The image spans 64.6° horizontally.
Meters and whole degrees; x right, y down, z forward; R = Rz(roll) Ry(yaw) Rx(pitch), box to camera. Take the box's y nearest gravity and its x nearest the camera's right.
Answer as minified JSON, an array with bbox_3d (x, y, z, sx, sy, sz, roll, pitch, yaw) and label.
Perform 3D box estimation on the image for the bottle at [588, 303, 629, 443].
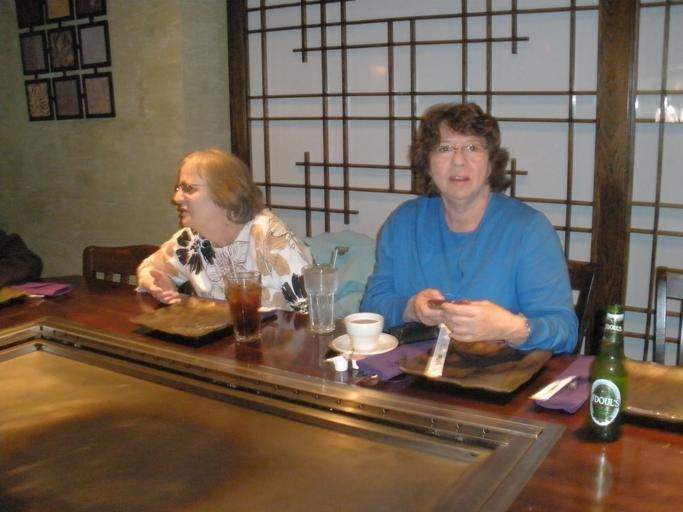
[{"bbox_3d":[0.500,0.202,1.001,0.063,0.251,0.120,5,9,26],"label":"bottle"}]

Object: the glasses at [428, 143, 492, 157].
[{"bbox_3d":[0.381,-0.339,1.726,0.165,0.036,0.032,2,8,7],"label":"glasses"}]

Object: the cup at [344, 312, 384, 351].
[{"bbox_3d":[0.056,0.189,1.325,0.126,0.076,0.126,-1,10,0],"label":"cup"}]

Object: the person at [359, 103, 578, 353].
[{"bbox_3d":[0.391,-0.076,1.769,0.590,0.815,0.787,-13,19,-33],"label":"person"}]
